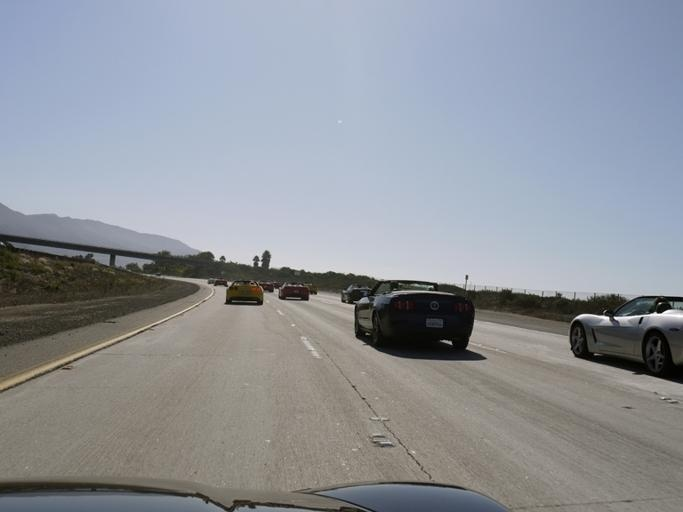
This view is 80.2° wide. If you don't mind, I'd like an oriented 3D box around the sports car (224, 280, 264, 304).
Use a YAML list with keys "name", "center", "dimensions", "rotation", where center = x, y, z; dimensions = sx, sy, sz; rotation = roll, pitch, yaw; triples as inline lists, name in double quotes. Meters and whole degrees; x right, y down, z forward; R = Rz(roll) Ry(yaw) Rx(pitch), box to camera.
- name: "sports car"
  center: [-7.510, 2.778, 31.472]
  dimensions: [2.560, 1.873, 2.075]
  rotation: [7, -6, -13]

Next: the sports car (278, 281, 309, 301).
- name: "sports car"
  center: [-5.133, 3.575, 42.634]
  dimensions: [2.548, 1.841, 3.158]
  rotation: [9, -8, -29]

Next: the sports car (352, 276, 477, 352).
- name: "sports car"
  center: [2.202, 1.819, 12.604]
  dimensions: [3.583, 1.909, 2.022]
  rotation: [2, -7, 22]
